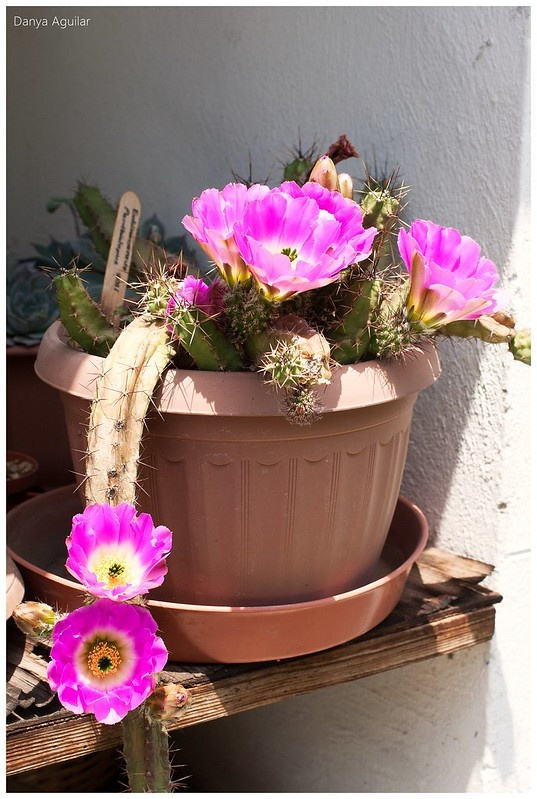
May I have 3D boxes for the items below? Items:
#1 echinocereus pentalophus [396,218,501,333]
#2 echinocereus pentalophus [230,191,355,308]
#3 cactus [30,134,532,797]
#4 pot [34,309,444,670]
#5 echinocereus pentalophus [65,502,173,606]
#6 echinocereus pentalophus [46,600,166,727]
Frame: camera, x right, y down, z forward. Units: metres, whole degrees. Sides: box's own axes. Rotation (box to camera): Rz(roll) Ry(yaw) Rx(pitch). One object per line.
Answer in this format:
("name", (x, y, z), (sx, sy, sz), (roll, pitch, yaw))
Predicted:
("echinocereus pentalophus", (0.113, -0.089, 0.496), (0.053, 0.071, 0.076), (-38, 4, 9))
("echinocereus pentalophus", (0.017, -0.111, 0.440), (0.065, 0.040, 0.062), (4, 14, -10))
("cactus", (-0.007, 0.044, 0.703), (0.440, 0.475, 0.458), (4, 7, 31))
("pot", (-0.002, 0.067, 0.574), (0.233, 0.163, 0.230), (2, -8, 0))
("echinocereus pentalophus", (-0.102, 0.089, 0.440), (0.059, 0.031, 0.055), (-7, 11, -38))
("echinocereus pentalophus", (-0.092, 0.158, 0.413), (0.074, 0.032, 0.069), (-5, 52, 12))
